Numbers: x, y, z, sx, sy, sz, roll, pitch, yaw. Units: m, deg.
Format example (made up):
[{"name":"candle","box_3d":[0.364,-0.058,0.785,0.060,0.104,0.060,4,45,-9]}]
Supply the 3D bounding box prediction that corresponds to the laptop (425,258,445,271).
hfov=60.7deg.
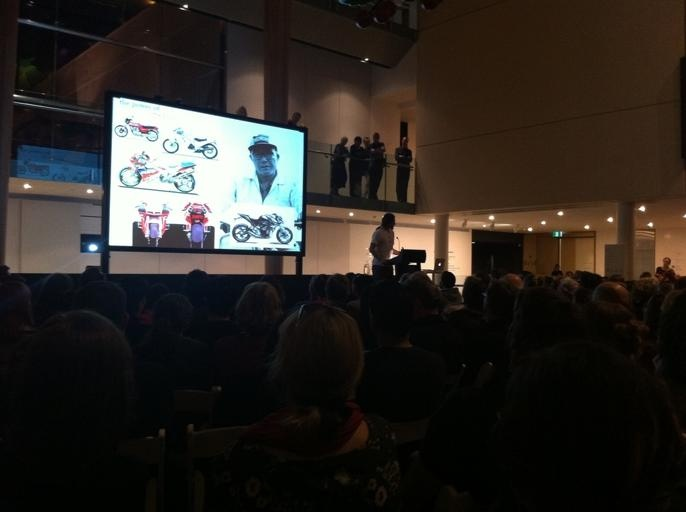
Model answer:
[{"name":"laptop","box_3d":[2.063,0.200,12.985,0.227,0.419,0.283,0,-6,37]}]

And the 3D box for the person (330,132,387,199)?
[{"name":"person","box_3d":[0.403,-2.090,13.592,1.545,1.548,0.426,1,0,-42]}]

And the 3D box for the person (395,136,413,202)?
[{"name":"person","box_3d":[1.486,-2.023,14.660,0.159,1.562,0.667,1,0,41]}]
